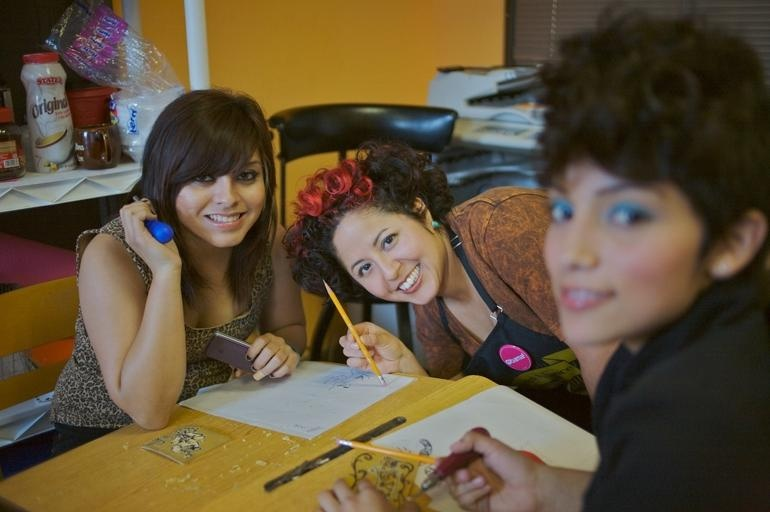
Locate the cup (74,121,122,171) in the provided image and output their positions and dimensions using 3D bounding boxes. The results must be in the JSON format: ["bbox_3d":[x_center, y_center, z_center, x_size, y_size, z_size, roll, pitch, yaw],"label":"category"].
[{"bbox_3d":[-0.893,-0.363,1.866,0.106,0.147,0.129,-9,19,-34],"label":"cup"}]

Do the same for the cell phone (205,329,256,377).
[{"bbox_3d":[-0.332,0.220,1.345,0.127,0.076,0.027,24,13,-5],"label":"cell phone"}]
